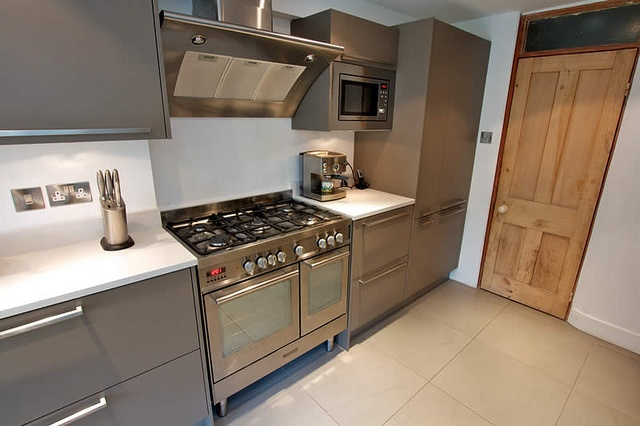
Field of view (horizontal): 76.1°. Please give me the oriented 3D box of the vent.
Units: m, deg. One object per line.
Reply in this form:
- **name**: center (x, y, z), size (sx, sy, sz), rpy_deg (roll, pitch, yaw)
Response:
- **vent**: center (-0.536, -1.163, 3.069), size (1.102, 0.471, 0.449), rpy_deg (-12, 13, -38)

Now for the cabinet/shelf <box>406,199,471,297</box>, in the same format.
- **cabinet/shelf**: center (1.191, 0.329, 4.169), size (0.828, 0.771, 0.397), rpy_deg (-21, 26, -40)

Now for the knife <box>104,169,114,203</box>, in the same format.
- **knife**: center (-1.416, -0.182, 2.733), size (0.048, 0.214, 0.052), rpy_deg (-6, 0, -34)

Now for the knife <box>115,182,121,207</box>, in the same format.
- **knife**: center (-1.368, -0.121, 2.759), size (0.038, 0.154, 0.041), rpy_deg (1, 5, 9)

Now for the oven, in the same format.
- **oven**: center (-0.372, 0.887, 3.101), size (1.105, 0.795, 0.590), rpy_deg (-19, 25, -40)

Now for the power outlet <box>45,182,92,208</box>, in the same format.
- **power outlet**: center (-1.734, -0.130, 2.788), size (0.171, 0.116, 0.027), rpy_deg (-11, 14, -32)

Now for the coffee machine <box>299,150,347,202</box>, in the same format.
- **coffee machine**: center (0.009, -0.377, 3.871), size (0.508, 0.479, 0.401), rpy_deg (17, 25, 41)

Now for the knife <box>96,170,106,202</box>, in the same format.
- **knife**: center (-1.489, -0.193, 2.775), size (0.054, 0.206, 0.143), rpy_deg (-11, 21, -26)

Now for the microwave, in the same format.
- **microwave**: center (0.205, -1.026, 3.673), size (0.596, 0.648, 1.046), rpy_deg (16, 24, 40)
